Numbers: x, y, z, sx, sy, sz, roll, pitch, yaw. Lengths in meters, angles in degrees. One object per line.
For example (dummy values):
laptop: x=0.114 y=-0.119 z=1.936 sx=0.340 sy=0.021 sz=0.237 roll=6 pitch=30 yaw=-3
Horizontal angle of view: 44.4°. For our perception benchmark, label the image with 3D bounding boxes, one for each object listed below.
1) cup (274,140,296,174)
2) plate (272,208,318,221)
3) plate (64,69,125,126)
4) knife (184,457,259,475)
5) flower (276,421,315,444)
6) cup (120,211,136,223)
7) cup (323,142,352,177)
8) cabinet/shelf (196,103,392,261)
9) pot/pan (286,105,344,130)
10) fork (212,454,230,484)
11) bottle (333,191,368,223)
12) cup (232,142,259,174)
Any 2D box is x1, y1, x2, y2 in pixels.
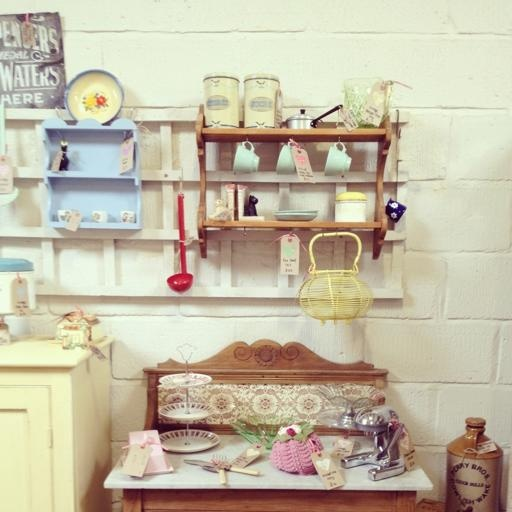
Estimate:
cup: x=0.118 y=-0.359 z=2.249 sx=0.056 sy=0.098 sz=0.078 roll=-6 pitch=5 yaw=7
plate: x=0.140 y=-0.145 z=2.249 sx=0.153 sy=0.037 sz=0.053 roll=0 pitch=7 yaw=4
plate: x=-0.607 y=-0.595 z=2.354 sx=0.211 sy=0.202 sz=0.067 roll=-2 pitch=9 yaw=-10
knife: x=-0.111 y=0.704 z=2.100 sx=0.316 sy=0.034 sz=0.068 roll=2 pitch=1 yaw=11
flower: x=0.130 y=0.597 z=2.130 sx=0.088 sy=0.024 sz=0.079 roll=-5 pitch=3 yaw=13
cup: x=-0.490 y=-0.149 z=2.405 sx=0.058 sy=0.047 sz=0.079 roll=-2 pitch=7 yaw=-12
cup: x=0.293 y=-0.351 z=2.315 sx=0.118 sy=0.124 sz=0.116 roll=4 pitch=12 yaw=-1
cabinet/shelf: x=0.140 y=-0.301 z=2.341 sx=0.815 sy=0.458 sz=0.183 roll=0 pitch=-6 yaw=-2
pot/pan: x=0.212 y=-0.507 z=2.302 sx=0.209 sy=0.062 sz=0.094 roll=1 pitch=6 yaw=15
fork: x=-0.118 y=0.710 z=2.090 sx=0.042 sy=0.013 sz=0.132 roll=5 pitch=5 yaw=-6
bottle: x=0.341 y=-0.174 z=2.258 sx=0.137 sy=0.088 sz=0.118 roll=0 pitch=2 yaw=-7
cup: x=-0.033 y=-0.362 z=2.309 sx=0.121 sy=0.110 sz=0.105 roll=7 pitch=14 yaw=10
